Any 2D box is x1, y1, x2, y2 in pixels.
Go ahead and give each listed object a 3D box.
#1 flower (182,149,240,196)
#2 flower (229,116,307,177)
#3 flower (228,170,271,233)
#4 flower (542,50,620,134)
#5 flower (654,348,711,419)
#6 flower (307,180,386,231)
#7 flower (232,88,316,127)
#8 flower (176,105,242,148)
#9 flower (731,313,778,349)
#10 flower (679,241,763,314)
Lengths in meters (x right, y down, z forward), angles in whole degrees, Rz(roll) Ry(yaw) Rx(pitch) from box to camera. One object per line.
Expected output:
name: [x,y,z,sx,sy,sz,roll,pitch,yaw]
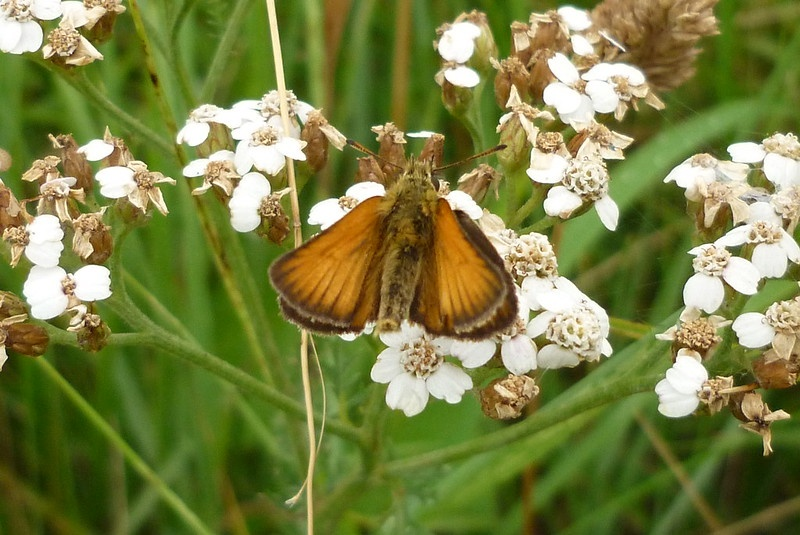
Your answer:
flower: [-1.280,-0.623,6.137,0.363,0.254,0.257,-15,25,-16]
flower: [-0.913,-0.818,6.153,0.377,0.173,0.396,-28,71,-21]
flower: [-1.017,-0.445,6.111,0.308,0.335,0.211,-14,25,-16]
flower: [1.262,-1.240,6.352,0.468,0.132,0.524,10,64,-12]
flower: [1.824,0.772,5.826,0.321,0.320,0.186,-18,26,-23]
flower: [-0.377,-0.444,6.154,0.341,0.132,0.419,3,42,51]
flower: [-0.839,-1.184,6.449,0.330,0.154,0.392,17,-3,12]
flower: [-1.335,-0.980,6.311,0.339,0.136,0.332,-45,55,-11]
flower: [2.301,0.431,5.886,0.259,0.242,0.139,0,24,14]
flower: [2.106,0.062,5.972,0.433,0.238,0.473,-24,62,5]
